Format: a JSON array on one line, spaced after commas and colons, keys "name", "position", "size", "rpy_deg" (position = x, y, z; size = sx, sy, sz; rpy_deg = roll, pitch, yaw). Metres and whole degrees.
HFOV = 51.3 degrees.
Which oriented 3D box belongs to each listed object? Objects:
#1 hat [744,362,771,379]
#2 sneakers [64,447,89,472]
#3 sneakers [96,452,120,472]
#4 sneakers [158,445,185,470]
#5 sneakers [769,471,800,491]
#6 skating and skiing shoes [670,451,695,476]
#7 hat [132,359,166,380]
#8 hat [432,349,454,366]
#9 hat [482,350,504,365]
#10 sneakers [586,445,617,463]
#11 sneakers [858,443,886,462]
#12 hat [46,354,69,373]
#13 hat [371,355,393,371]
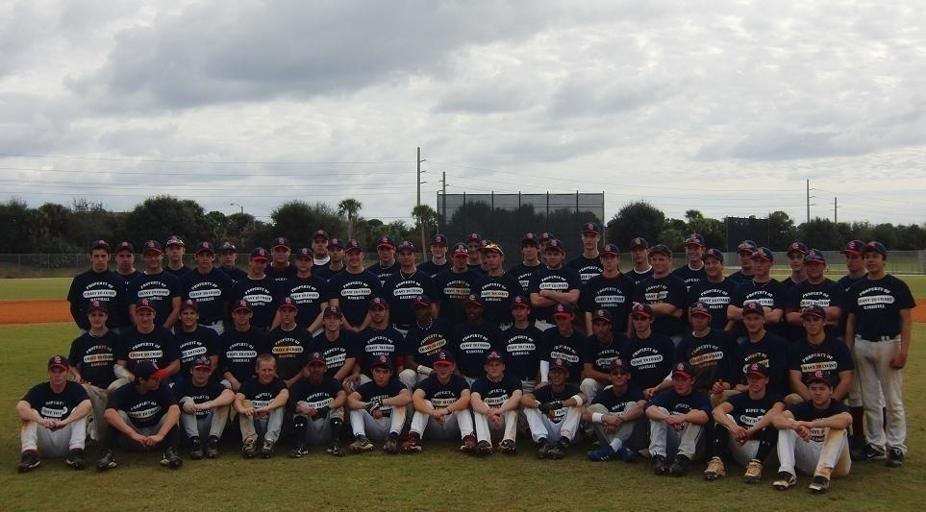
[{"name": "hat", "position": [5.490, 2.140, 17.961], "size": [0.426, 0.274, 0.458], "rpy_deg": [0, 0, 14]}, {"name": "sneakers", "position": [-7.180, 3.782, 17.920], "size": [0.306, 0.184, 0.444], "rpy_deg": [40, -11, -13]}, {"name": "sneakers", "position": [-6.634, 3.826, 17.991], "size": [0.213, 0.212, 0.563], "rpy_deg": [2, 2, -7]}, {"name": "sneakers", "position": [-5.426, 3.789, 17.982], "size": [0.652, 0.253, 0.246], "rpy_deg": [-4, -8, 44]}, {"name": "sneakers", "position": [5.770, 4.037, 17.239], "size": [0.210, 0.198, 0.593], "rpy_deg": [-6, -7, 37]}, {"name": "skating and skiing shoes", "position": [4.018, 3.835, 17.732], "size": [0.238, 0.253, 0.680], "rpy_deg": [10, -7, 31]}, {"name": "hat", "position": [-5.944, 2.179, 18.413], "size": [0.604, 0.354, 0.392], "rpy_deg": [0, 0, -38]}, {"name": "hat", "position": [-0.357, 2.027, 19.091], "size": [0.403, 0.284, 0.429], "rpy_deg": [0, 0, -4]}, {"name": "hat", "position": [0.636, 2.020, 19.115], "size": [0.378, 0.238, 0.361], "rpy_deg": [0, 0, 2]}, {"name": "sneakers", "position": [2.614, 3.740, 18.282], "size": [0.669, 0.195, 0.265], "rpy_deg": [-8, 27, -18]}, {"name": "sneakers", "position": [7.675, 3.704, 18.038], "size": [0.660, 0.243, 0.228], "rpy_deg": [-1, -3, 4]}, {"name": "hat", "position": [-7.709, 2.052, 18.403], "size": [0.408, 0.269, 0.530], "rpy_deg": [0, -10, -24]}, {"name": "hat", "position": [-1.577, 2.109, 19.002], "size": [0.382, 0.267, 0.292], "rpy_deg": [0, 0, -7]}]
